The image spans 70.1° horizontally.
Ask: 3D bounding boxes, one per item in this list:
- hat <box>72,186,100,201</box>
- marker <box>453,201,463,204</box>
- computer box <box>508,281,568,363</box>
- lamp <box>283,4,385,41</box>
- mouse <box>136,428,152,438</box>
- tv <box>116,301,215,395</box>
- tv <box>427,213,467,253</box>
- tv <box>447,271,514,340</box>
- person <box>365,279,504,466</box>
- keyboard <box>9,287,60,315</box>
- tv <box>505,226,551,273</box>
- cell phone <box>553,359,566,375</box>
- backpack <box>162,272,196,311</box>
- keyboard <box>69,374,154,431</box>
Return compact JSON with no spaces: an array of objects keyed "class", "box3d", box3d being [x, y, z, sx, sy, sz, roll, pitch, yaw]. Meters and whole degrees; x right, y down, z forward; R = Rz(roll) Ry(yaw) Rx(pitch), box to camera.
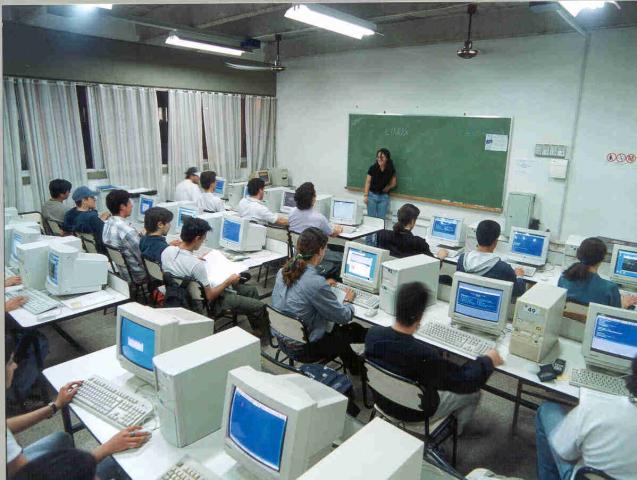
[{"class":"hat","box3d":[-2.275,-0.486,4.542,0.287,0.151,0.199,-10,17,-37]},{"class":"marker","box3d":[1.649,-0.446,5.404,0.024,0.026,0.096,2,12,-30]},{"class":"computer box","box3d":[1.352,0.499,2.792,0.213,0.399,0.345,13,18,41]},{"class":"lamp","box3d":[0.097,-1.553,3.225,0.553,0.078,0.260,7,1,-24]},{"class":"mouse","box3d":[-0.850,0.951,2.225,0.059,0.032,0.040,-5,15,-22]},{"class":"tv","box3d":[-0.828,0.505,2.588,0.472,0.432,0.469,-7,13,-43]},{"class":"tv","box3d":[1.370,-0.088,4.783,0.233,0.364,0.373,-2,13,-45]},{"class":"tv","box3d":[1.038,0.440,2.925,0.356,0.362,0.213,8,11,36]},{"class":"person","box3d":[0.651,0.720,2.594,0.762,0.919,0.283,-2,14,-10]},{"class":"keyboard","box3d":[-2.053,0.445,3.329,0.358,0.037,0.154,24,28,39]},{"class":"tv","box3d":[1.896,0.083,4.185,0.330,0.314,0.181,12,-17,15]},{"class":"cell phone","box3d":[1.383,0.725,2.619,0.049,0.031,0.092,8,38,44]},{"class":"backpack","box3d":[-1.044,0.385,3.439,0.257,0.314,0.191,8,9,31]},{"class":"keyboard","box3d":[-1.120,0.853,2.427,0.487,0.074,0.194,11,26,29]}]
